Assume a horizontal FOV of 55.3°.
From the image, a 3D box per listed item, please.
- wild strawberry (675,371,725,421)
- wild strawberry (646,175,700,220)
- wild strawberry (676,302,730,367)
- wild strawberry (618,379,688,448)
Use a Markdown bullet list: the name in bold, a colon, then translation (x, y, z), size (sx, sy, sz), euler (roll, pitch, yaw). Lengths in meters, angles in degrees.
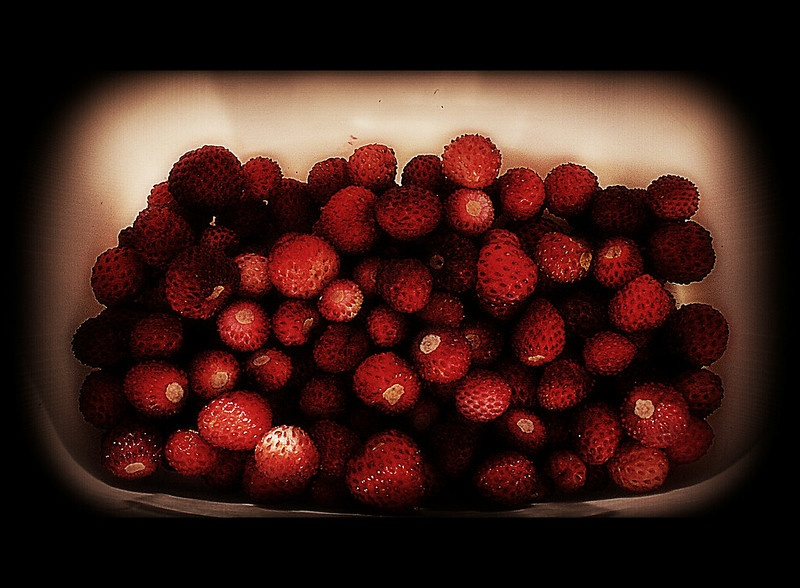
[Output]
- **wild strawberry**: translation (0.434, 0.140, 1.101), size (0.053, 0.072, 0.043), euler (6, 54, 4)
- **wild strawberry**: translation (0.401, -0.131, 1.116), size (0.058, 0.027, 0.072), euler (2, 86, -3)
- **wild strawberry**: translation (0.432, 0.056, 1.090), size (0.070, 0.050, 0.088), euler (-5, 89, 34)
- **wild strawberry**: translation (0.361, 0.173, 1.092), size (0.092, 0.046, 0.083), euler (7, 58, 3)
